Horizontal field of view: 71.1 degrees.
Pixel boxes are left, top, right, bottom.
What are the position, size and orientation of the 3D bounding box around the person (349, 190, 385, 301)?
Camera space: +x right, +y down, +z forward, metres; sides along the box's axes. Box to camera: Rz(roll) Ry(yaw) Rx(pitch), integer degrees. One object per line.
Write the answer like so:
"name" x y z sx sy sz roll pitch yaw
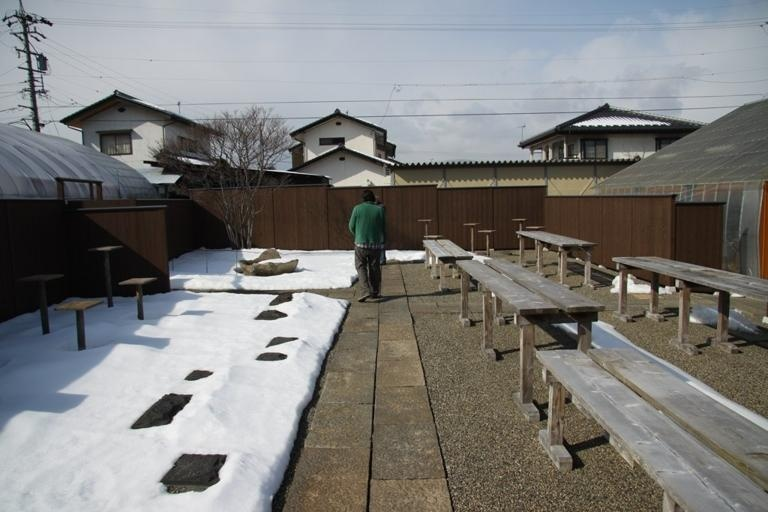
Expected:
"person" -0.274 -0.187 9.561 0.622 1.961 0.395 -3 10 -2
